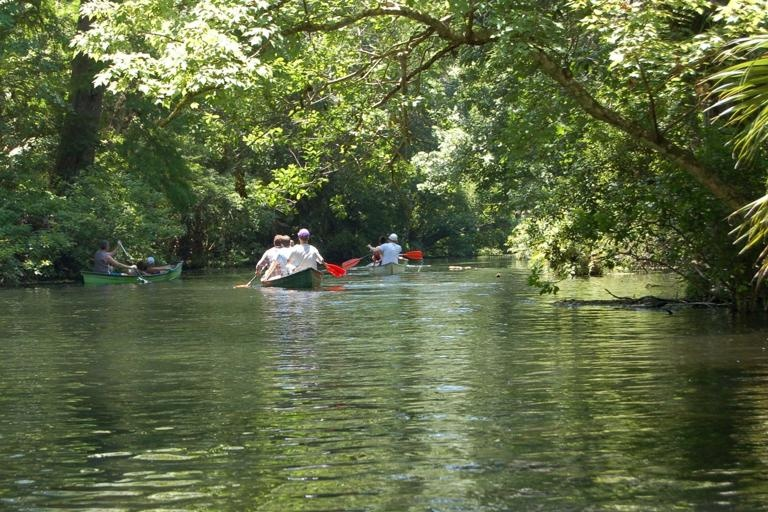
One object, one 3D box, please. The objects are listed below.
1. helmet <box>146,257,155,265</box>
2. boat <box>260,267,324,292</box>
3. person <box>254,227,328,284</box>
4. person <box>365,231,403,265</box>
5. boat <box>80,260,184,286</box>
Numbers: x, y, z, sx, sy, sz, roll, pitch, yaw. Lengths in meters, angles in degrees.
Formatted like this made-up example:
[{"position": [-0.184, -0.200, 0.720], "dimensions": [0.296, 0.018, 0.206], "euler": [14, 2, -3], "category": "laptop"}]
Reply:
[{"position": [-9.505, 0.181, 34.277], "dimensions": [0.387, 0.143, 0.499], "euler": [-11, 15, -26], "category": "helmet"}, {"position": [-2.869, 0.740, 26.535], "dimensions": [2.120, 0.651, 0.758], "euler": [-5, -6, 38], "category": "boat"}, {"position": [-2.814, 0.051, 26.528], "dimensions": [1.481, 0.919, 2.514], "euler": [-5, 1, -19], "category": "person"}, {"position": [0.071, -0.125, 36.568], "dimensions": [0.880, 1.066, 1.322], "euler": [0, -5, -18], "category": "person"}, {"position": [-9.381, 0.681, 31.721], "dimensions": [1.309, 0.833, 5.604], "euler": [1, 1, 37], "category": "boat"}]
